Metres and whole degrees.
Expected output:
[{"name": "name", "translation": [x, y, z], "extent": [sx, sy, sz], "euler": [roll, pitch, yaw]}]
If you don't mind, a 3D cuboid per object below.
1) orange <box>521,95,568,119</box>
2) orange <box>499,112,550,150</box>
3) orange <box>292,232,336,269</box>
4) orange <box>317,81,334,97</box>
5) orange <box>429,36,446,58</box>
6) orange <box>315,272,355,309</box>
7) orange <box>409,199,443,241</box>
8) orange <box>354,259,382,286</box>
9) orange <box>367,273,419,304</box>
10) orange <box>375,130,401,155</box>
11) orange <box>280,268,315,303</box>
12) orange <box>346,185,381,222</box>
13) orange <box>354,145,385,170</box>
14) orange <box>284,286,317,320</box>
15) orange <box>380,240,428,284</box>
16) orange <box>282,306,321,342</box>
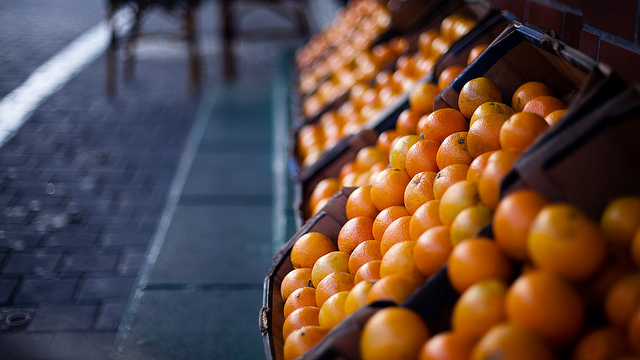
[{"name": "orange", "translation": [1.268, -0.430, 2.245], "extent": [0.229, 0.105, 0.213], "euler": [-11, 7, -4]}, {"name": "orange", "translation": [0.963, -0.224, 1.959], "extent": [0.260, 0.186, 0.207], "euler": [3, -2, -11]}, {"name": "orange", "translation": [-0.054, 0.463, 2.599], "extent": [0.301, 0.263, 0.294], "euler": [-1, -7, -13]}, {"name": "orange", "translation": [0.071, -1.201, 5.218], "extent": [0.198, 0.196, 0.191], "euler": [-40, 25, 5]}, {"name": "orange", "translation": [1.162, -1.366, 4.006], "extent": [0.169, 0.190, 0.201], "euler": [5, 29, -10]}, {"name": "orange", "translation": [0.077, 0.630, 2.274], "extent": [0.224, 0.199, 0.234], "euler": [-6, -8, 27]}, {"name": "orange", "translation": [0.574, 0.200, 2.101], "extent": [0.188, 0.192, 0.163], "euler": [-2, 20, -5]}, {"name": "orange", "translation": [0.266, 0.501, 2.175], "extent": [0.174, 0.145, 0.155], "euler": [-2, 1, 4]}, {"name": "orange", "translation": [0.342, 0.511, 1.888], "extent": [0.161, 0.152, 0.142], "euler": [-30, 52, 14]}, {"name": "orange", "translation": [0.522, -0.309, 3.256], "extent": [0.198, 0.174, 0.214], "euler": [-13, -23, -11]}, {"name": "orange", "translation": [-0.141, 0.609, 2.436], "extent": [0.215, 0.227, 0.193], "euler": [12, 38, -9]}, {"name": "orange", "translation": [0.256, 0.153, 2.518], "extent": [0.238, 0.196, 0.207], "euler": [3, 18, 2]}, {"name": "orange", "translation": [0.391, -0.202, 3.268], "extent": [0.222, 0.192, 0.233], "euler": [-4, 31, 3]}, {"name": "orange", "translation": [-0.113, 0.690, 2.262], "extent": [0.185, 0.183, 0.165], "euler": [5, -4, 1]}, {"name": "orange", "translation": [0.410, 0.399, 2.027], "extent": [0.214, 0.216, 0.195], "euler": [-6, 30, 10]}, {"name": "orange", "translation": [-0.099, 0.753, 2.184], "extent": [0.198, 0.169, 0.177], "euler": [-20, -3, 0]}]
